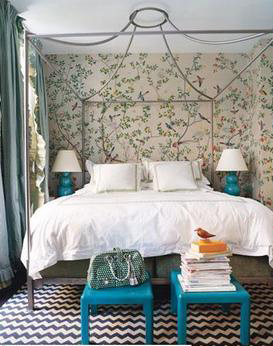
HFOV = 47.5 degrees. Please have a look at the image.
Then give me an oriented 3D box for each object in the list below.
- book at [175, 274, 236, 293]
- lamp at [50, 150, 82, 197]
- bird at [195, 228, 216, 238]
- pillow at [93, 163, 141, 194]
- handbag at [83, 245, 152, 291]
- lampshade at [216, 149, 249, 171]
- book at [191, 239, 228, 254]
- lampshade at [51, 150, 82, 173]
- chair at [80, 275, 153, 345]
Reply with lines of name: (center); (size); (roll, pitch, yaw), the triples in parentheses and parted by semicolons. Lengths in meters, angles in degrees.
book: (0.355, 0.575, 1.660); (0.279, 0.069, 0.256); (1, 5, 0)
lamp: (-0.868, 0.048, 3.793); (0.385, 0.640, 0.404); (-2, -7, 16)
bird: (0.373, 0.317, 1.651); (0.087, 0.057, 0.039); (-5, 4, 5)
pillow: (-0.226, 0.066, 3.359); (0.393, 0.104, 0.328); (3, 41, -2)
handbag: (-0.072, 0.504, 1.698); (0.352, 0.214, 0.178); (-10, -3, 21)
lampshade: (1.100, -0.144, 3.596); (0.283, 0.268, 0.276); (-4, 5, -7)
book: (0.371, 0.380, 1.635); (0.169, 0.065, 0.150); (0, 5, -14)
lampshade: (-0.836, -0.145, 3.689); (0.272, 0.257, 0.234); (4, 6, 30)
chair: (-0.091, 0.655, 1.568); (0.332, 0.226, 0.313); (0, -2, 0)
